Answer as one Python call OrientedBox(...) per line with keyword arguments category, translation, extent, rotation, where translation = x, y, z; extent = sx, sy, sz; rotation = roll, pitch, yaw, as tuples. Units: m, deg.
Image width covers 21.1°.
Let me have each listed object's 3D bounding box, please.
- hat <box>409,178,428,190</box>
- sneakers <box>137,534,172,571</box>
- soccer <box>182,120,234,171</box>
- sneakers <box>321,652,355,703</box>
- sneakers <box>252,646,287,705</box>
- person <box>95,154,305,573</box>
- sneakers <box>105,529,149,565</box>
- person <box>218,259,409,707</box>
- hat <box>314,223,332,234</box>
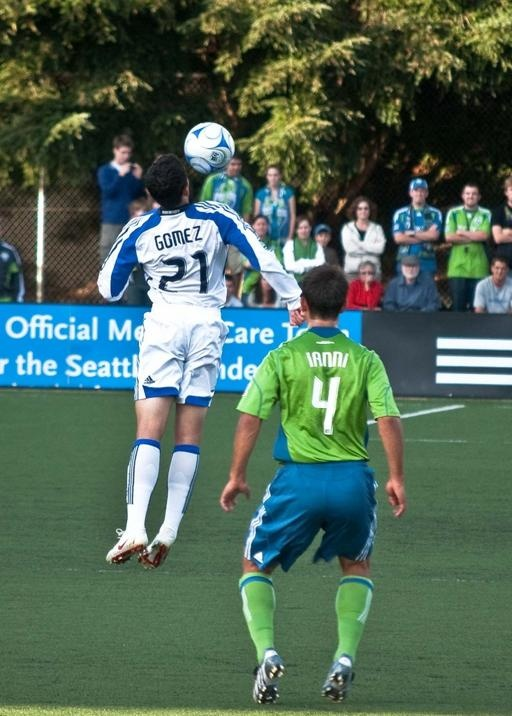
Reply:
OrientedBox(category="hat", translation=(1.585, -1.668, 13.317), extent=(0.136, 0.114, 0.284), rotation=(0, 8, 1))
OrientedBox(category="sneakers", translation=(-0.449, 0.859, 6.040), extent=(0.096, 0.161, 0.068), rotation=(33, 3, -10))
OrientedBox(category="soccer", translation=(-0.240, -1.084, 7.077), extent=(0.228, 0.252, 0.238), rotation=(-1, 7, -12))
OrientedBox(category="sneakers", translation=(0.278, 1.114, 4.768), extent=(0.069, 0.197, 0.101), rotation=(33, 54, 20))
OrientedBox(category="sneakers", translation=(0.037, 1.102, 4.775), extent=(0.073, 0.221, 0.119), rotation=(6, 32, -6))
OrientedBox(category="person", translation=(-0.274, -0.010, 6.444), extent=(0.960, 2.050, 0.623), rotation=(-11, -24, 22))
OrientedBox(category="sneakers", translation=(-0.565, 0.843, 6.075), extent=(0.066, 0.193, 0.111), rotation=(37, 22, -36))
OrientedBox(category="person", translation=(0.235, 0.365, 5.060), extent=(0.677, 1.367, 0.614), rotation=(-1, 7, -12))
OrientedBox(category="hat", translation=(0.671, -1.282, 13.743), extent=(0.117, 0.063, 0.181), rotation=(2, -6, 3))
